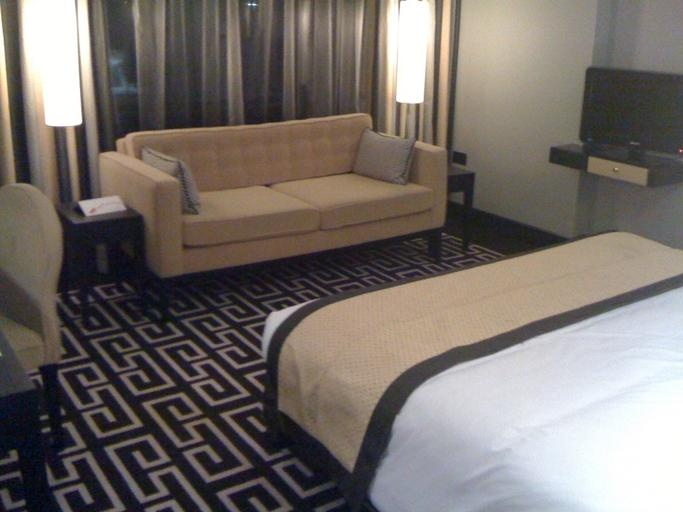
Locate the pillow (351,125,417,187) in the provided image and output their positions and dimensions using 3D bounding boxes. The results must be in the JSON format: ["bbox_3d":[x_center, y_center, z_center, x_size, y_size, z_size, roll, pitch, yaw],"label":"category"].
[{"bbox_3d":[0.320,-0.773,4.209,0.455,0.426,0.136,20,6,33],"label":"pillow"}]

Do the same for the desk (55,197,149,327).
[{"bbox_3d":[-1.500,-0.080,3.717,0.671,1.011,0.662,-5,24,-21],"label":"desk"}]

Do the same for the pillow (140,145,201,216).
[{"bbox_3d":[-1.106,-0.482,3.479,0.165,0.345,0.533,-19,29,-40],"label":"pillow"}]
